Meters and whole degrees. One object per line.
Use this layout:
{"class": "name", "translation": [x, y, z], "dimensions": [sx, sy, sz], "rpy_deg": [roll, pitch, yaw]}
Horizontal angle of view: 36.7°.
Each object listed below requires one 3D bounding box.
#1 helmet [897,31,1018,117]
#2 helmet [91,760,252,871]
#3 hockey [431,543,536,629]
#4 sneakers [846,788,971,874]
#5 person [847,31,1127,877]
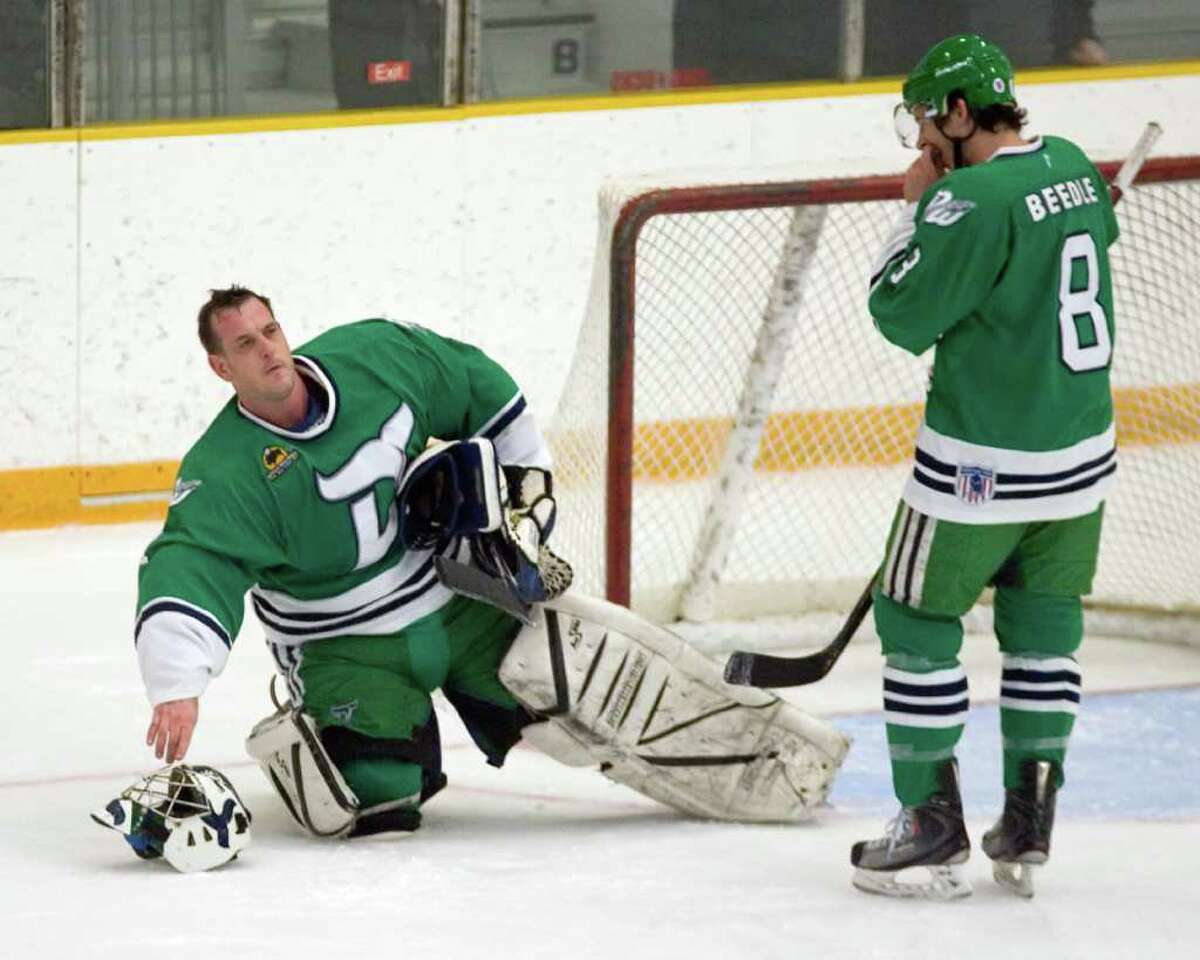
{"class": "helmet", "translation": [0.637, -0.735, 3.216], "dimensions": [0.183, 0.135, 0.141], "rpy_deg": [14, 25, 28]}
{"class": "helmet", "translation": [-0.796, 0.610, 3.320], "dimensions": [0.255, 0.155, 0.189], "rpy_deg": [-2, 10, -30]}
{"class": "hockey", "translation": [-0.243, 0.215, 3.580], "dimensions": [0.199, 0.040, 0.104], "rpy_deg": [30, 10, -20]}
{"class": "sneakers", "translation": [0.514, 0.610, 3.179], "dimensions": [0.288, 0.174, 0.092], "rpy_deg": [0, -4, -24]}
{"class": "person", "translation": [0.686, -0.022, 3.205], "dimensions": [0.438, 1.518, 0.448], "rpy_deg": [2, 11, 15]}
